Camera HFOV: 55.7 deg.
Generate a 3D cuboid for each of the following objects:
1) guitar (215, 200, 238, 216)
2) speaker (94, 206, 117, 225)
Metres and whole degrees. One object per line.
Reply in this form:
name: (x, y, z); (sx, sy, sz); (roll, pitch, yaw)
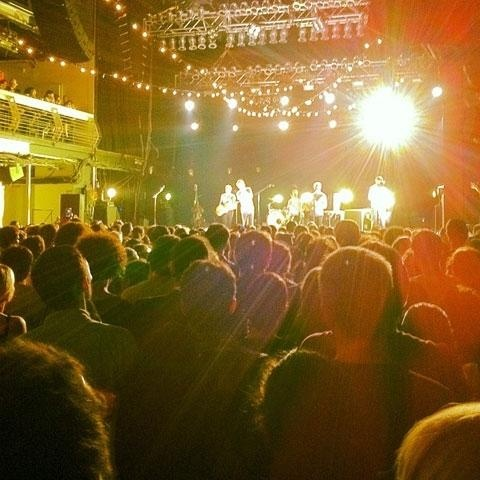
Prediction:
guitar: (-0.467, -1.168, 16.283); (0.673, 0.468, 0.195); (-22, 7, 10)
speaker: (-4.051, -0.756, 13.540); (0.322, 0.456, 0.702); (6, 4, -10)
